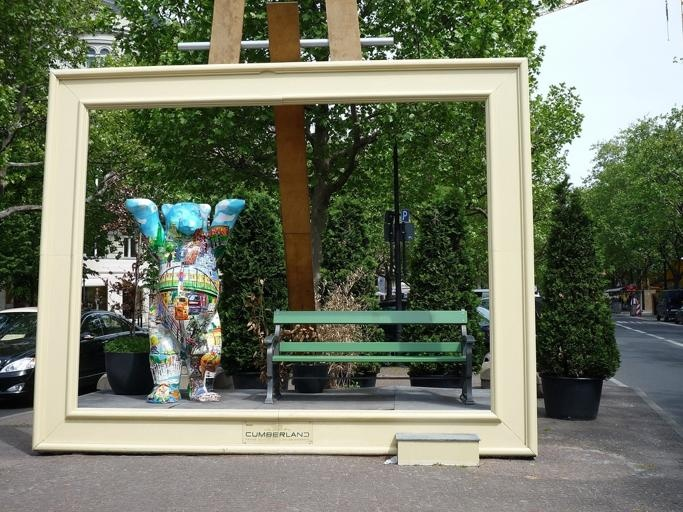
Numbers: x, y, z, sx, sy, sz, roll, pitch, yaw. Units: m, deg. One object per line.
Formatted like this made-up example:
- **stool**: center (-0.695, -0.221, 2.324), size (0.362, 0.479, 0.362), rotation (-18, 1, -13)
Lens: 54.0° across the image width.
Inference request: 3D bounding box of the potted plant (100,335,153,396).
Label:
- **potted plant**: center (-3.182, 1.773, 10.185), size (0.767, 0.643, 0.655), rotation (3, -8, -38)

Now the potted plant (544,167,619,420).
- **potted plant**: center (3.407, 0.636, 9.871), size (1.126, 3.462, 1.045), rotation (0, 5, -9)

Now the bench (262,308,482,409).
- **bench**: center (0.392, 1.424, 9.452), size (2.836, 1.285, 0.914), rotation (0, 0, 2)

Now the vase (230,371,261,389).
- **vase**: center (-1.613, 2.134, 11.442), size (0.380, 0.166, 0.260), rotation (-2, -3, 10)
